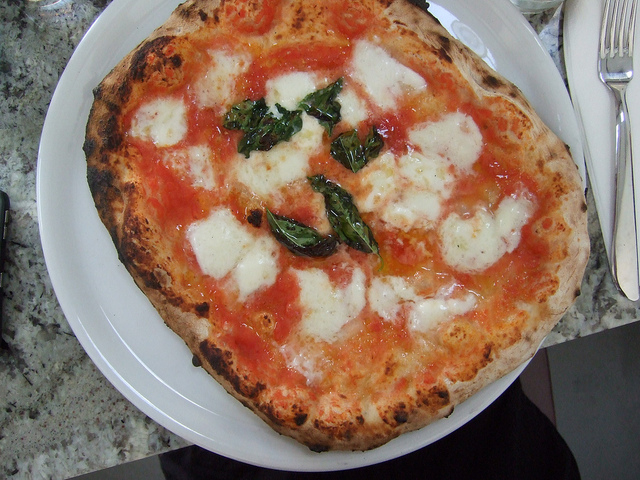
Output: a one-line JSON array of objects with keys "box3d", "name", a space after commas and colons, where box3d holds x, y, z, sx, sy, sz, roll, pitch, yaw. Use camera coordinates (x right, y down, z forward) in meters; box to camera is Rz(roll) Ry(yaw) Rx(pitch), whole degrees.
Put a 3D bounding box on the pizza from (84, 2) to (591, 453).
[{"box3d": [0.037, -0.118, 1.934, 1.178, 0.112, 1.334, -33, 89, -1], "name": "pizza"}]
